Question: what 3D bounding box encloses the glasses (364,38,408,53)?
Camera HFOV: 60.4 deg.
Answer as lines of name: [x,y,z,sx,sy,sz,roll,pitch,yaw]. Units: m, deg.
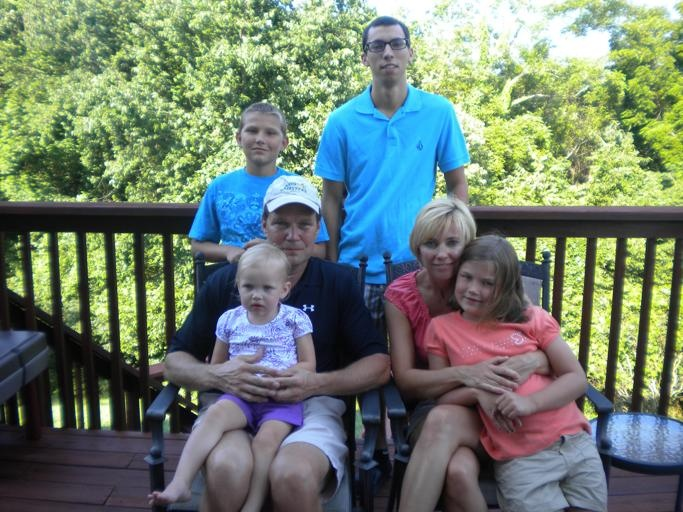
glasses: [0.278,-1.278,3.596,0.263,0.089,0.063,0,3,10]
